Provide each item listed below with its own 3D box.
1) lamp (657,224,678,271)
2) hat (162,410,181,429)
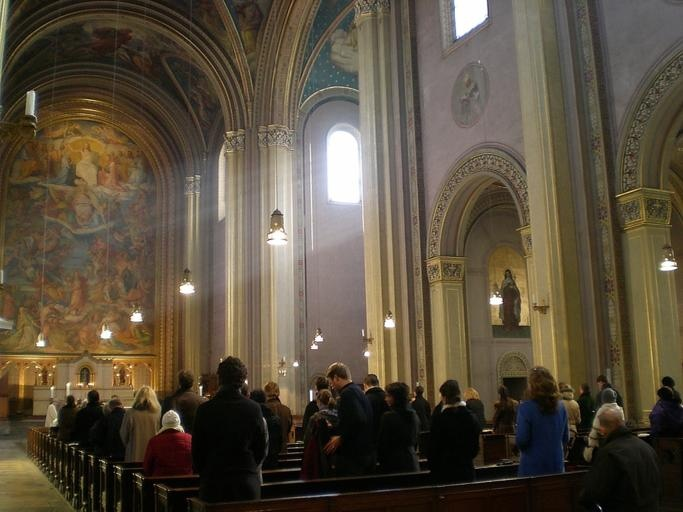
[{"bbox_3d":[5.453,-0.015,11.546,0.258,0.568,0.576,-12,-16,40],"label":"lamp"},{"bbox_3d":[-1.926,1.873,7.849,0.215,0.216,0.222,-4,-16,-16],"label":"hat"}]
